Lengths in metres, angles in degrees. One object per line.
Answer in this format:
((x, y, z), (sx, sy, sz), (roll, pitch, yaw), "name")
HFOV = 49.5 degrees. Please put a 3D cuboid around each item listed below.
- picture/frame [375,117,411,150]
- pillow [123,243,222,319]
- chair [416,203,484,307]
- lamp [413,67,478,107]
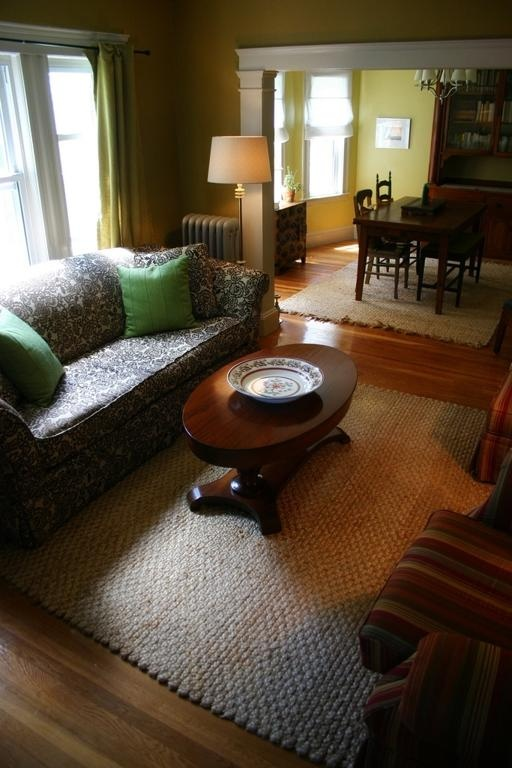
((1.635, -2.991, 6.567), (0.349, 0.309, 0.035), (13, 31, 25), "picture/frame")
((-0.383, -0.625, 3.207), (0.449, 0.471, 0.169), (-12, 1, -11), "pillow")
((1.711, -1.140, 4.892), (0.371, 0.485, 1.007), (12, 35, 29), "chair")
((1.981, -3.140, 5.810), (0.631, 0.294, 0.781), (4, 25, 14), "lamp")
